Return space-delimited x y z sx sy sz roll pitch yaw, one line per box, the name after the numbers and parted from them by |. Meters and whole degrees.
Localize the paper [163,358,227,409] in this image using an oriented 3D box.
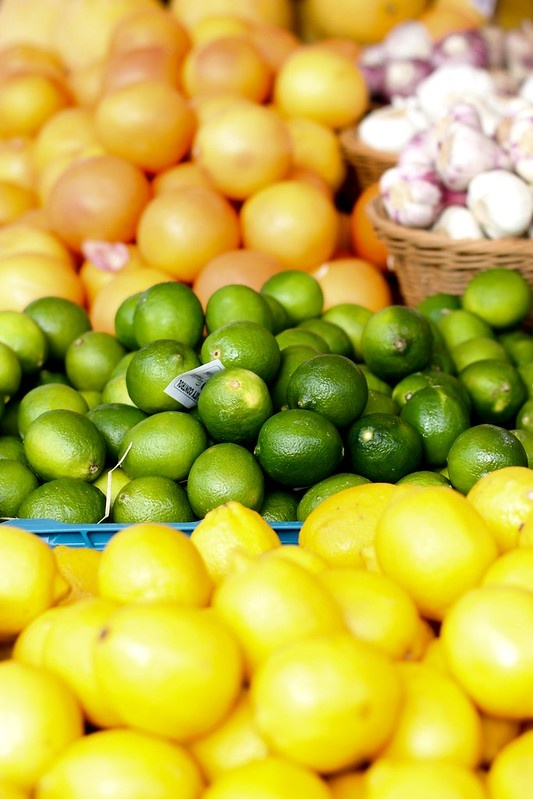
-0.128 -0.028 1.223 0.086 0.089 0.021 -37 59 13 | paper
